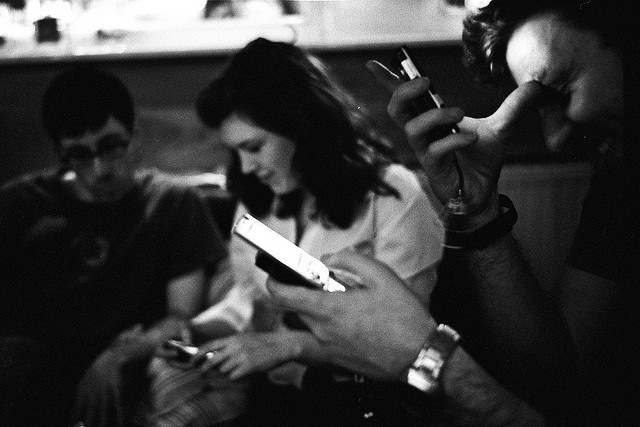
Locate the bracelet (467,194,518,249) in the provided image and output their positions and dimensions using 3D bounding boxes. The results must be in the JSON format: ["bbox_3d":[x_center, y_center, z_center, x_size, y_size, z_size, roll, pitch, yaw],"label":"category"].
[{"bbox_3d":[0.563,0.034,2.164,0.173,0.144,0.060,-22,33,-24],"label":"bracelet"}]

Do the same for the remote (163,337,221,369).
[{"bbox_3d":[-0.439,0.455,2.173,0.128,0.041,0.100,19,29,29],"label":"remote"}]
